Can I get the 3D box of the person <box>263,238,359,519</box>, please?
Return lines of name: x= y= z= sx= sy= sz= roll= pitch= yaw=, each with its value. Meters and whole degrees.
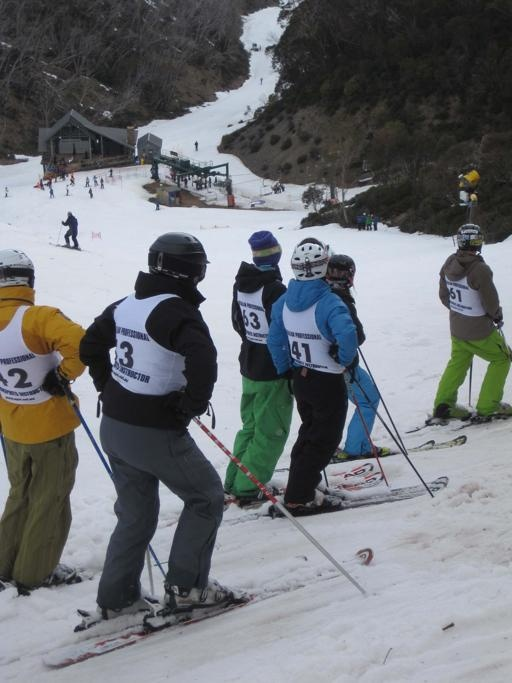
person: x=0.390 y=0.257 z=4.435 sx=0.733 sy=1.806 sz=0.341 roll=-1 pitch=12 yaw=38

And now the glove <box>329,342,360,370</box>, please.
glove: x=0.570 y=0.076 z=4.344 sx=0.212 sy=0.140 sz=0.149 roll=-6 pitch=-28 yaw=-10

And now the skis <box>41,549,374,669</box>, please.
skis: x=-0.220 y=1.301 z=3.339 sx=1.691 sy=0.072 sz=0.186 roll=-11 pitch=4 yaw=-14

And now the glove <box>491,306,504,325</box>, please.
glove: x=2.061 y=-0.229 z=5.902 sx=0.066 sy=0.149 sz=0.115 roll=-9 pitch=10 yaw=-14

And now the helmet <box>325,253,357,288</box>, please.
helmet: x=0.629 y=-0.514 z=5.043 sx=0.210 sy=0.248 sz=0.260 roll=14 pitch=11 yaw=4

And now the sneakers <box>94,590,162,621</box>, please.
sneakers: x=-0.615 y=1.309 z=3.400 sx=0.213 sy=0.067 sz=0.141 roll=-9 pitch=-7 yaw=-12

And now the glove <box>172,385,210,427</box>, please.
glove: x=-0.250 y=0.277 z=3.108 sx=0.096 sy=0.203 sz=0.161 roll=13 pitch=12 yaw=-40

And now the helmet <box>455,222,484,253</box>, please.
helmet: x=1.828 y=-0.897 z=5.990 sx=0.234 sy=0.250 sz=0.266 roll=3 pitch=21 yaw=12

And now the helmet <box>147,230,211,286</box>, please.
helmet: x=-0.364 y=-0.404 z=3.279 sx=0.314 sy=0.218 sz=0.249 roll=1 pitch=13 yaw=-27

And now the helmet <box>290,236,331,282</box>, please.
helmet: x=0.331 y=-0.512 z=4.286 sx=0.231 sy=0.256 sz=0.227 roll=-7 pitch=9 yaw=4

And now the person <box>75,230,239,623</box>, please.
person: x=-0.472 y=0.434 z=3.278 sx=0.805 sy=1.848 sz=0.378 roll=-6 pitch=10 yaw=14

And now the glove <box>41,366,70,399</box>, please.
glove: x=-1.062 y=0.225 z=3.746 sx=0.170 sy=0.112 sz=0.065 roll=-28 pitch=-5 yaw=29
